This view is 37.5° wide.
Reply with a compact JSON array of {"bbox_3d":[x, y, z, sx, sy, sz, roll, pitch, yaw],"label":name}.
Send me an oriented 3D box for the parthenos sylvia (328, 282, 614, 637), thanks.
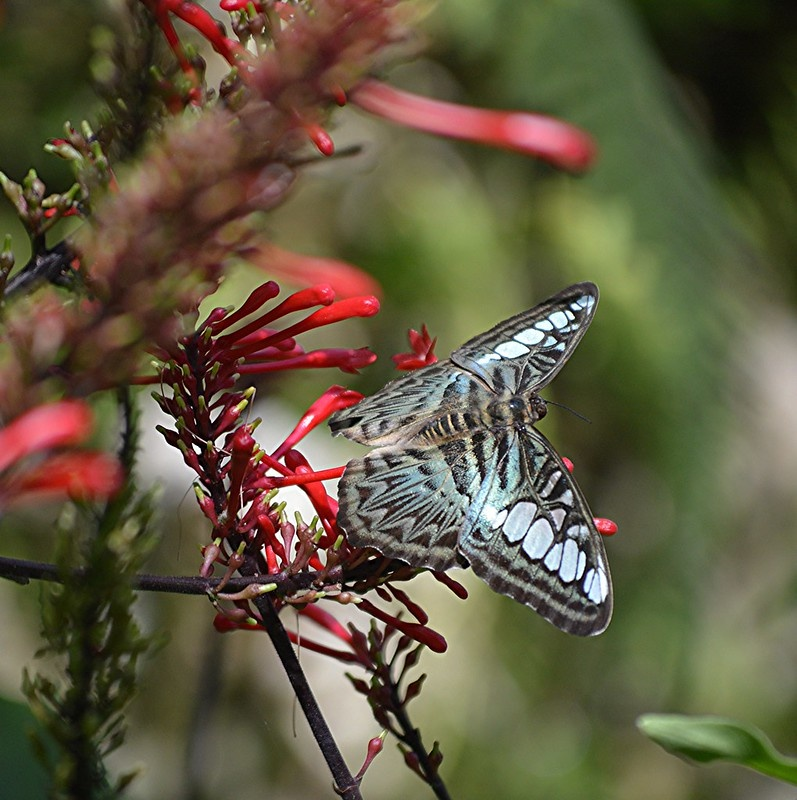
[{"bbox_3d":[0.097,0.037,1.591,0.368,0.391,0.547,4,75,1],"label":"parthenos sylvia"}]
